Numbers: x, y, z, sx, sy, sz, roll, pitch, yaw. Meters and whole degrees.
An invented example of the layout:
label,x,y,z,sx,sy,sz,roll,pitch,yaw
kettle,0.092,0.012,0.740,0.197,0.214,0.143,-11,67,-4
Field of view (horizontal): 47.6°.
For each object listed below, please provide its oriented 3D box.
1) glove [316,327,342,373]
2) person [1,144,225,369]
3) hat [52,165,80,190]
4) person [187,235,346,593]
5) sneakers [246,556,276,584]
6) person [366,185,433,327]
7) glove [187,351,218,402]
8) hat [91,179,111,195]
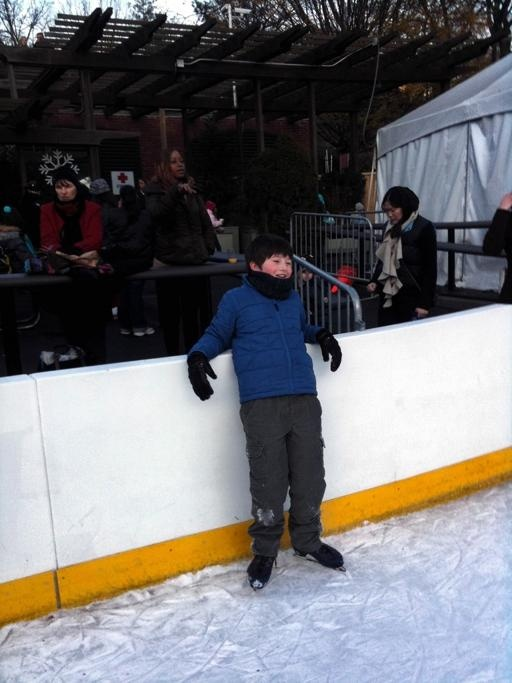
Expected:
label,x,y,z,sx,sy,sz,roll,pitch,yaw
glove,0.312,0.027,2.378,0.049,0.161,0.129,7,38,45
person,-0.979,-0.510,3.569,0.981,1.331,1.526,2,9,23
hat,-1.137,-0.980,3.460,0.155,0.139,0.290,-3,8,-7
person,0.059,0.269,2.296,0.645,1.368,0.391,-4,9,-10
sneakers,0.016,0.878,2.225,0.059,0.066,0.151,21,11,3
person,0.946,-0.559,3.889,0.522,0.952,0.454,5,12,39
glove,-0.209,0.129,2.065,0.049,0.165,0.106,3,-31,-42
hat,-1.199,-1.182,4.437,0.113,0.050,0.144,-4,5,-17
